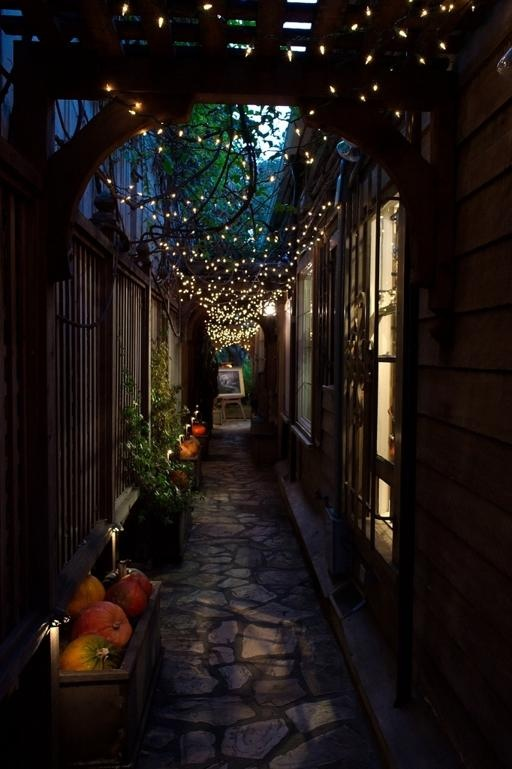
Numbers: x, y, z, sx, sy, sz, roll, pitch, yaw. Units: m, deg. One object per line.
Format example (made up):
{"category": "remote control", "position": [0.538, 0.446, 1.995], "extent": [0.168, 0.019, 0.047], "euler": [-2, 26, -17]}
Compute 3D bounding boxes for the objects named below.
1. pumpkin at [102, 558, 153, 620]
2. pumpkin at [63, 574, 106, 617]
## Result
{"category": "pumpkin", "position": [-0.734, 1.194, 3.023], "extent": [0.211, 0.275, 0.239], "euler": [13, -12, -20]}
{"category": "pumpkin", "position": [-0.942, 1.114, 2.909], "extent": [0.188, 0.245, 0.219], "euler": [-9, -9, 13]}
